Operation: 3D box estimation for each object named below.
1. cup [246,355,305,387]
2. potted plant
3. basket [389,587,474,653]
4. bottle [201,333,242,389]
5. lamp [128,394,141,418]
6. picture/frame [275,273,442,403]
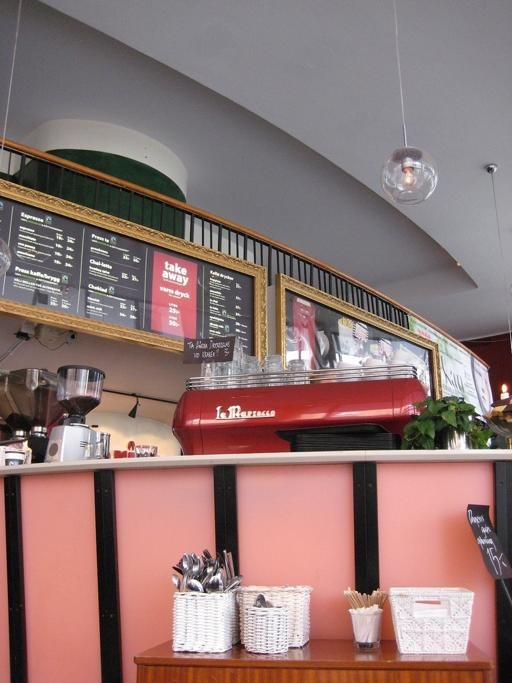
[{"bbox_3d":[0.099,0.124,2.380,0.166,0.070,0.166,3,-19,1],"label":"cup"},{"bbox_3d":[0.641,0.268,1.780,0.226,0.149,0.183,2,-18,-44],"label":"potted plant"},{"bbox_3d":[0.382,0.623,1.193,0.178,0.119,0.123,0,-12,-2],"label":"basket"},{"bbox_3d":[-0.149,0.104,2.495,0.152,0.260,0.258,1,-10,1],"label":"bottle"},{"bbox_3d":[-1.080,0.596,4.683,0.092,0.208,0.224,1,-8,-13],"label":"lamp"},{"bbox_3d":[1.097,-0.099,5.565,0.250,0.852,2.681,-8,-10,43],"label":"picture/frame"}]
